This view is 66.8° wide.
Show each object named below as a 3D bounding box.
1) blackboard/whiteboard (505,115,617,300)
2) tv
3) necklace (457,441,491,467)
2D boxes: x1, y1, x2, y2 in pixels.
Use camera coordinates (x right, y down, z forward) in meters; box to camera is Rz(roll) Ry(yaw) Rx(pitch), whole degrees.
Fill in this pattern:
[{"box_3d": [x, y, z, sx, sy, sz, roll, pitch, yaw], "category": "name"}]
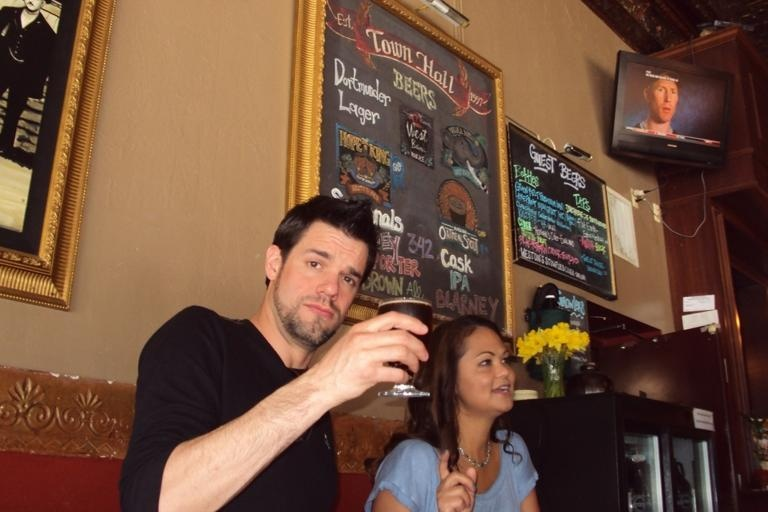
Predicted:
[{"box_3d": [1.250, -0.326, 4.193, 1.323, 0.961, 0.049, 18, -27, -35], "category": "blackboard/whiteboard"}, {"box_3d": [2.431, -1.223, 4.989, 1.081, 0.832, 0.162, 9, 1, -14], "category": "tv"}, {"box_3d": [0.435, 0.931, 2.738, 0.232, 0.127, 0.064, 21, -28, -39], "category": "necklace"}]
